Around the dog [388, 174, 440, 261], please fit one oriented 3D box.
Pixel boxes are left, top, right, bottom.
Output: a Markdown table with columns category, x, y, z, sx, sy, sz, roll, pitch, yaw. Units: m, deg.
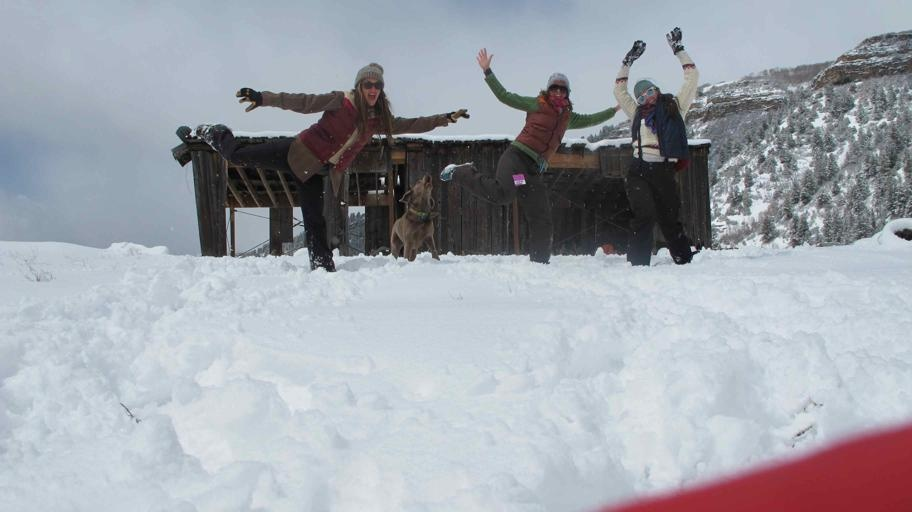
| category | x | y | z | sx | sy | sz | roll | pitch | yaw |
| --- | --- | --- | --- | --- | --- | --- | --- | --- | --- |
| dog | -0.598 | -0.434 | 10.372 | 0.576 | 1.234 | 1.581 | -3 | -2 | -15 |

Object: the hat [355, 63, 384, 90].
| category | x | y | z | sx | sy | sz | roll | pitch | yaw |
| --- | --- | --- | --- | --- | --- | --- | --- | --- | --- |
| hat | -0.940 | -2.003 | 8.074 | 0.266 | 0.245 | 0.280 | -10 | 18 | -31 |

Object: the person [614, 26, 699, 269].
| category | x | y | z | sx | sy | sz | roll | pitch | yaw |
| --- | --- | --- | --- | --- | --- | --- | --- | --- | --- |
| person | 2.256 | -1.247 | 8.177 | 0.943 | 2.511 | 1.231 | 3 | 15 | 13 |

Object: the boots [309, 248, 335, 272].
| category | x | y | z | sx | sy | sz | roll | pitch | yaw |
| --- | --- | --- | --- | --- | --- | --- | --- | --- | --- |
| boots | -1.495 | 0.047 | 8.115 | 0.277 | 0.277 | 0.212 | -5 | 2 | -22 |

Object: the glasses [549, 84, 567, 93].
| category | x | y | z | sx | sy | sz | roll | pitch | yaw |
| --- | --- | --- | --- | --- | --- | --- | --- | --- | --- |
| glasses | 1.170 | -1.908 | 8.348 | 0.115 | 0.033 | 0.118 | 3 | -6 | -5 |
